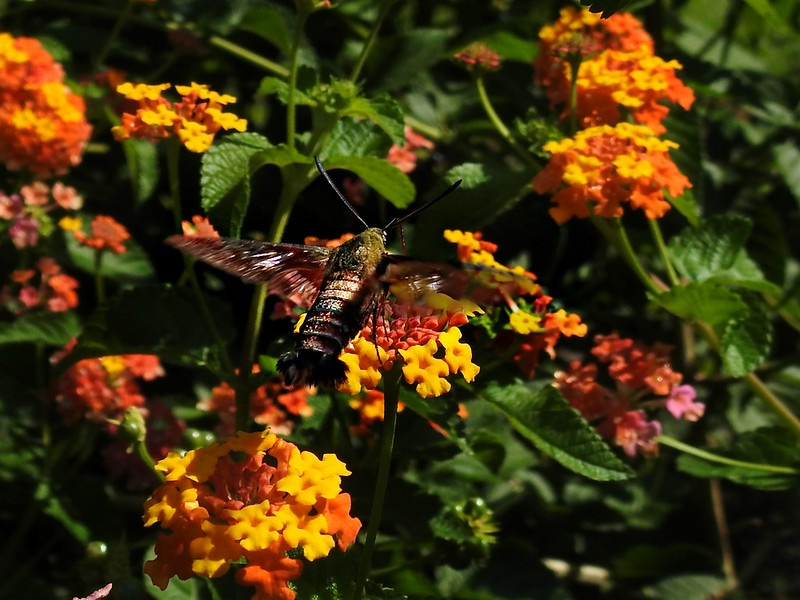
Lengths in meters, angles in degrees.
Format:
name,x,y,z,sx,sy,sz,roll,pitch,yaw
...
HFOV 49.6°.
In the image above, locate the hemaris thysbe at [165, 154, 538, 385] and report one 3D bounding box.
name,x,y,z,sx,sy,sz,roll,pitch,yaw
hemaris thysbe,-0.113,-0.025,1.751,0.732,0.281,0.526,12,31,17
